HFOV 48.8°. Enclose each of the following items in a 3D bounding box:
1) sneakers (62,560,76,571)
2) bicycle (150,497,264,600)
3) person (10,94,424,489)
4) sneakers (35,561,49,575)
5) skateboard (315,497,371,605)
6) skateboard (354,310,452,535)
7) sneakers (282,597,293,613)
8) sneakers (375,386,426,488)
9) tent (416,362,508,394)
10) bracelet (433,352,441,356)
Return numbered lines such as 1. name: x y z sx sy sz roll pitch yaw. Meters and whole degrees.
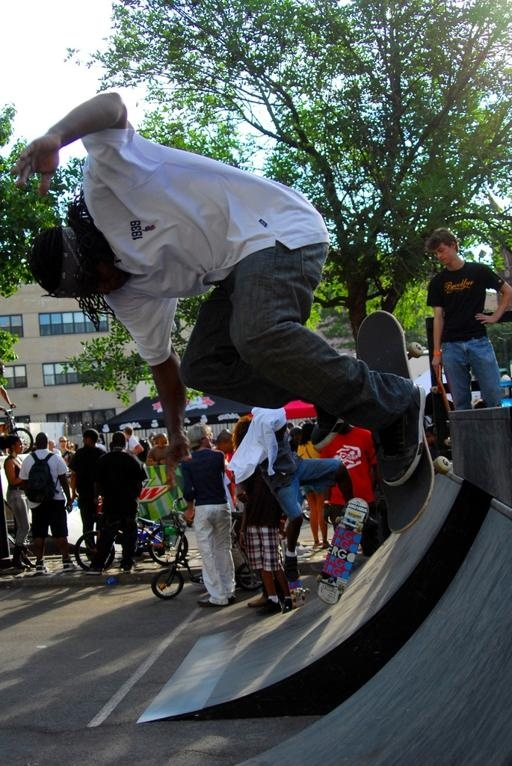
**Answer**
1. sneakers: -2.969 2.910 8.980 0.103 0.121 0.297 0 0 10
2. bicycle: -0.835 2.297 7.660 1.845 1.452 0.966 -2 -16 -5
3. person: -0.146 -0.257 2.166 1.514 1.078 0.986 9 -22 -10
4. sneakers: -3.366 2.889 8.832 0.126 0.163 0.375 1 1 7
5. skateboard: 0.488 0.951 3.186 0.195 0.716 0.108 23 -4 0
6. skateboard: 0.666 0.156 2.741 0.412 1.272 0.493 -14 -21 35
7. sneakers: 0.302 2.127 5.366 0.112 0.112 0.269 -7 -12 0
8. sneakers: 0.592 0.197 2.352 0.169 0.423 0.186 -2 -20 31
9. tent: 2.343 -0.028 6.410 0.774 0.444 0.720 -3 -8 22
10. bracelet: 1.833 -0.278 5.666 0.054 0.018 0.045 1 -9 -14
